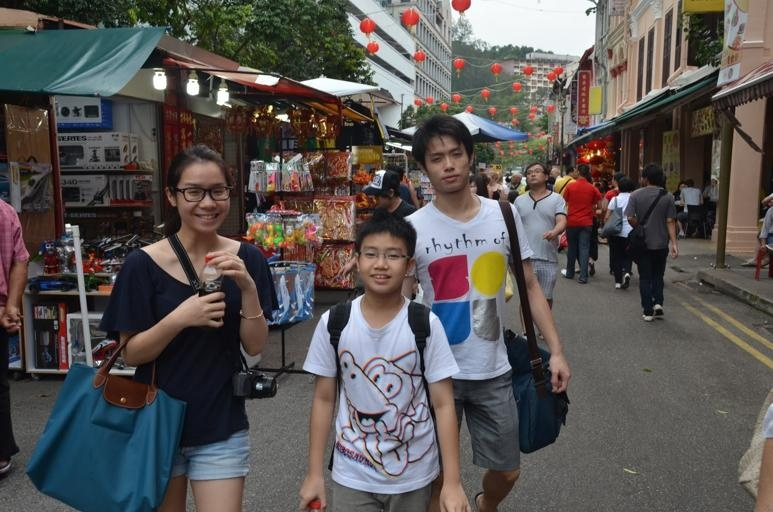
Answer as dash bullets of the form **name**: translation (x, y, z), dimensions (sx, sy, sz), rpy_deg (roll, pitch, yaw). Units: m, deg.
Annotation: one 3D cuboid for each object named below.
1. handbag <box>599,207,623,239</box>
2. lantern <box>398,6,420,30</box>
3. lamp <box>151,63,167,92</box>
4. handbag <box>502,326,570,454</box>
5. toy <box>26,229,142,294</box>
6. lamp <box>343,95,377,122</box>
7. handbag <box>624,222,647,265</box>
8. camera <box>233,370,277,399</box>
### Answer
- **handbag**: translation (4.553, -0.672, 11.659), dimensions (0.376, 0.537, 0.283), rpy_deg (0, 7, 13)
- **lantern**: translation (0.983, -10.433, 25.660), dimensions (0.588, 0.922, 1.776), rpy_deg (-1, 8, -1)
- **lamp**: translation (-3.653, -2.827, 9.310), dimensions (0.182, 0.326, 1.191), rpy_deg (-4, 8, -21)
- **handbag**: translation (0.939, 0.830, 3.912), dimensions (0.389, 0.828, 0.607), rpy_deg (0, -1, 3)
- **toy**: translation (-4.051, 0.113, 7.597), dimensions (1.218, 0.521, 1.407), rpy_deg (-1, 3, 7)
- **lamp**: translation (-0.618, -3.154, 12.766), dimensions (0.530, 0.283, 0.553), rpy_deg (20, -2, 16)
- **handbag**: translation (4.083, -0.198, 9.568), dimensions (0.250, 0.671, 0.332), rpy_deg (-1, 7, 0)
- **camera**: translation (-0.756, 0.712, 3.311), dimensions (0.159, 0.109, 0.180), rpy_deg (1, 1, 0)
